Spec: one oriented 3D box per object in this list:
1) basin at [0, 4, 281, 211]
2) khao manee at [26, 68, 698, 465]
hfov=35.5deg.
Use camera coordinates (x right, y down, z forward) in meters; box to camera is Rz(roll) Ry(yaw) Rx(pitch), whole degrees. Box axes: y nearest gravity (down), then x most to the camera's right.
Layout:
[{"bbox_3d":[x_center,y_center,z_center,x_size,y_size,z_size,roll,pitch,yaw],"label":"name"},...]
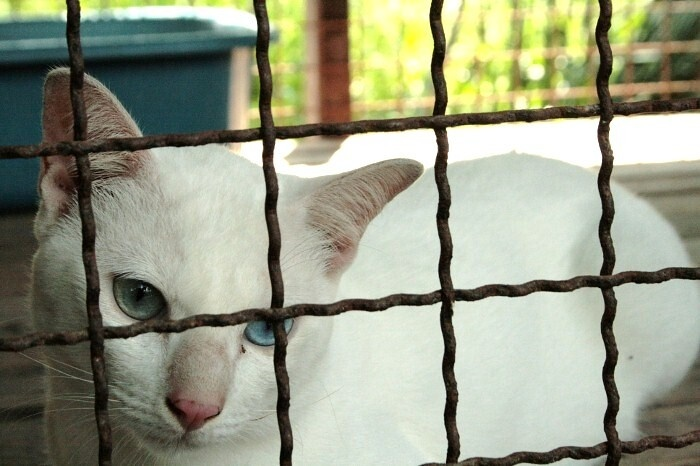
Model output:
[{"bbox_3d":[-1.004,-0.739,5.727,1.523,0.589,1.190,-1,-1,-24],"label":"basin"},{"bbox_3d":[0.403,0.027,4.640,1.170,1.417,2.823,9,16,26],"label":"khao manee"}]
